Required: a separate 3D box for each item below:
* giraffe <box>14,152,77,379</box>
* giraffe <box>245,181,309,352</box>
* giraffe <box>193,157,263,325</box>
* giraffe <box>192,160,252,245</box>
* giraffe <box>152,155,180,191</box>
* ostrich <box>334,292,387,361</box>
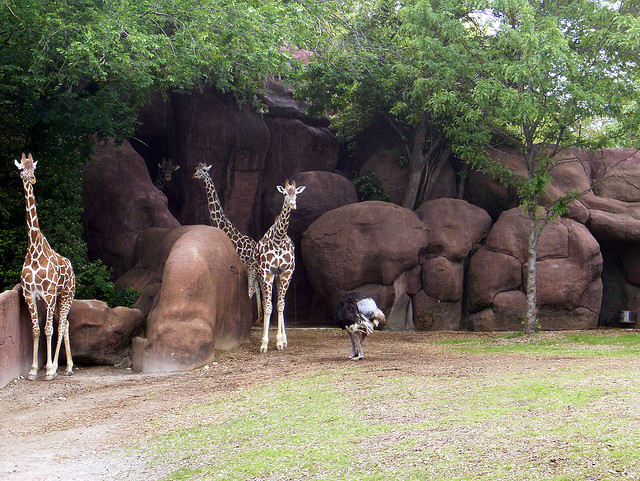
[{"bbox_3d":[-5.761,0.548,15.094,0.990,4.692,1.549,-5,11,-10],"label":"giraffe"},{"bbox_3d":[-1.163,0.705,18.468,1.075,4.214,3.180,1,0,-18],"label":"giraffe"},{"bbox_3d":[-2.606,-0.081,20.462,1.398,5.490,1.508,1,5,25],"label":"giraffe"},{"bbox_3d":[-2.917,-0.829,20.736,1.538,3.789,1.646,1,3,24],"label":"giraffe"},{"bbox_3d":[-5.393,-2.287,25.241,0.655,1.281,1.628,3,5,-23],"label":"giraffe"},{"bbox_3d":[0.858,1.797,15.306,0.956,1.455,1.003,0,2,-8],"label":"ostrich"}]
